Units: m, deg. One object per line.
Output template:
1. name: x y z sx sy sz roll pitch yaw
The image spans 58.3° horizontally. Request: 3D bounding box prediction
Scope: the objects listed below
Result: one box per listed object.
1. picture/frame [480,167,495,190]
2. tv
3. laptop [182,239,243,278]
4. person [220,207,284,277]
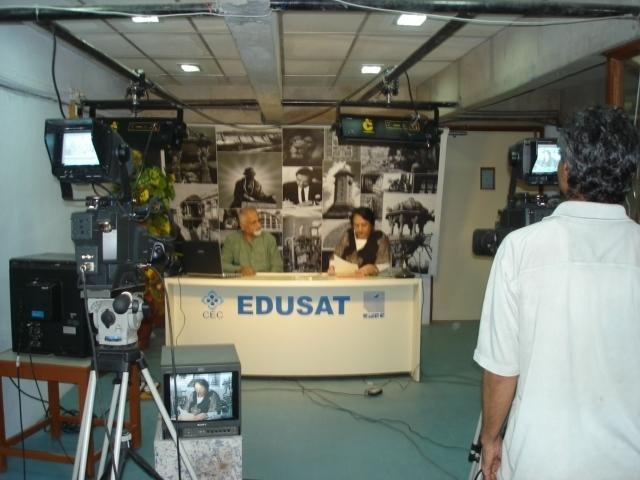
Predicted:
1. picture/frame: 2.500 -0.942 8.587 0.276 0.441 0.032 -1 5 3
2. tv: -0.877 1.110 4.312 0.592 0.610 0.508 2 18 -2
3. laptop: -1.092 0.208 5.511 0.490 0.389 0.354 0 4 -31
4. person: -0.835 0.135 7.055 0.689 1.020 0.687 3 32 -1
